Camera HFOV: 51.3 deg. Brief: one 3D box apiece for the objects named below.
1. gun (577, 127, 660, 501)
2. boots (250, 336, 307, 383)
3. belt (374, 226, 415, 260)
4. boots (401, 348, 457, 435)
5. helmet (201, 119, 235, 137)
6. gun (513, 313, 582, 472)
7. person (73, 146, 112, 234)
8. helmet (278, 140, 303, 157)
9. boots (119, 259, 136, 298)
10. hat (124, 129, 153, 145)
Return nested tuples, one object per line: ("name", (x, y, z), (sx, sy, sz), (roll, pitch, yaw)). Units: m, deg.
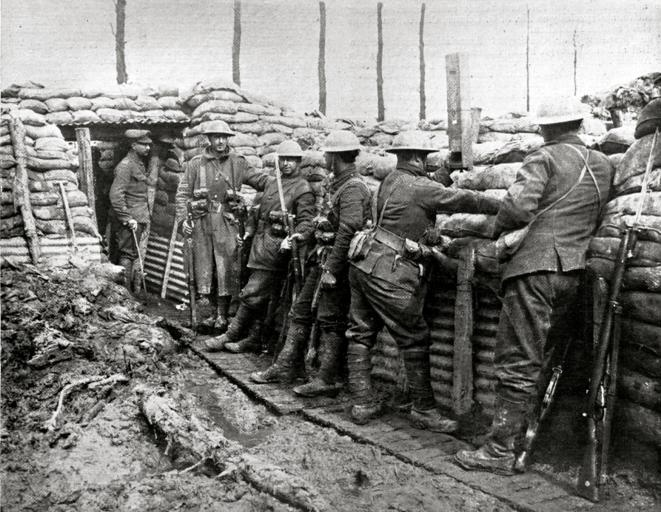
("gun", (2.309, 0.543, 5.537), (0.301, 2.668, 0.907), (6, 13, 32))
("boots", (-0.594, 1.214, 7.938), (0.757, 0.609, 0.289), (-7, -15, 28))
("belt", (0.619, -0.143, 6.755), (0.323, 0.133, 0.256), (29, 7, 16))
("boots", (0.939, 1.285, 6.667), (0.315, 0.737, 0.630), (-6, 12, -25))
("helmet", (-1.554, -1.674, 9.306), (0.519, 0.199, 0.529), (2, 5, -16))
("gun", (1.868, 1.161, 5.913), (0.148, 1.403, 0.252), (22, -22, 6))
("person", (-4.564, -1.234, 13.178), (1.180, 1.543, 0.460), (2, 0, -12))
("helmet", (-0.500, -1.293, 8.452), (0.227, 0.116, 0.230), (11, 16, -2))
("boots", (-3.316, 0.330, 11.187), (0.238, 0.584, 0.257), (-4, 12, -17))
("hat", (-3.244, -1.990, 11.572), (0.328, 0.176, 0.299), (-3, 12, -20))
